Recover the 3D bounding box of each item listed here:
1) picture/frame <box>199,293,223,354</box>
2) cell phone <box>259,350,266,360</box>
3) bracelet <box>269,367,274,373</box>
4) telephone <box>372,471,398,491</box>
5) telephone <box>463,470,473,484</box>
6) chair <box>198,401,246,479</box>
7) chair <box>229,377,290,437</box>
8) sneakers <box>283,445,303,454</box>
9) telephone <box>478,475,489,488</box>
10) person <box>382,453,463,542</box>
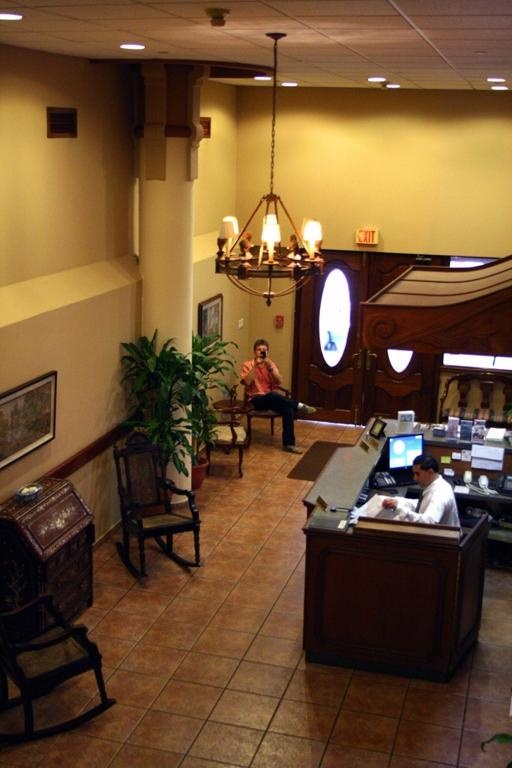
[{"bbox_3d":[-0.630,-0.831,7.647,0.074,0.843,0.974,2,2,19],"label":"picture/frame"},{"bbox_3d":[0.094,-0.439,8.475,0.080,0.122,0.042,0,1,-10],"label":"cell phone"},{"bbox_3d":[0.214,-0.216,8.596,0.053,0.062,0.040,-3,-1,-38],"label":"bracelet"},{"bbox_3d":[1.188,0.917,5.355,0.145,0.051,0.163,12,14,18],"label":"telephone"},{"bbox_3d":[2.085,0.927,5.668,0.100,0.121,0.038,4,-2,-28],"label":"telephone"},{"bbox_3d":[-0.370,0.690,8.079,0.812,1.254,0.809,3,21,3],"label":"chair"},{"bbox_3d":[-0.011,0.420,8.792,0.755,1.109,0.829,0,23,0],"label":"chair"},{"bbox_3d":[0.537,0.983,8.475,0.294,0.141,0.113,7,23,16],"label":"sneakers"},{"bbox_3d":[2.208,0.953,5.582,0.087,0.131,0.041,4,-6,2],"label":"telephone"},{"bbox_3d":[1.222,0.865,4.262,0.569,0.902,0.536,1,5,8],"label":"person"}]
